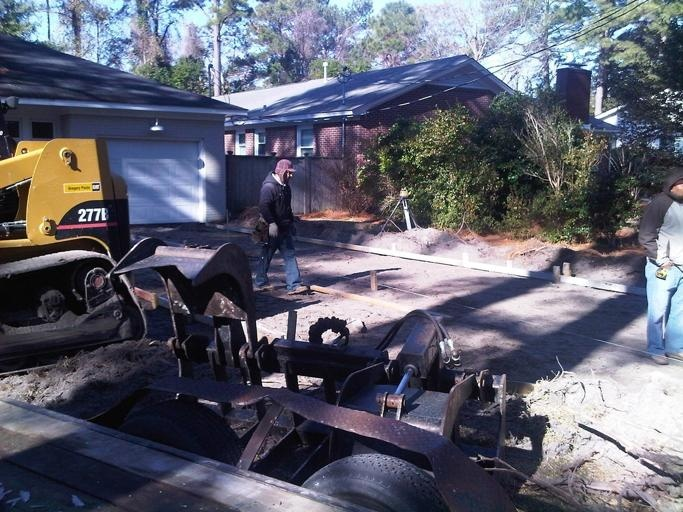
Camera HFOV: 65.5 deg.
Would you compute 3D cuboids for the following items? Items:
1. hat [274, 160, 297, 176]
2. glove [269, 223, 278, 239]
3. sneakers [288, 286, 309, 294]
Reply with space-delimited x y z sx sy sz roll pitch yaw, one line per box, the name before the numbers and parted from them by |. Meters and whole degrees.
hat | -1.026 -1.590 8.921 0.465 0.296 0.367 -4 7 8
glove | -1.117 -0.456 8.826 0.155 0.264 0.080 -1 6 -9
sneakers | -0.730 0.631 8.950 0.337 0.144 0.127 -5 -5 -10
